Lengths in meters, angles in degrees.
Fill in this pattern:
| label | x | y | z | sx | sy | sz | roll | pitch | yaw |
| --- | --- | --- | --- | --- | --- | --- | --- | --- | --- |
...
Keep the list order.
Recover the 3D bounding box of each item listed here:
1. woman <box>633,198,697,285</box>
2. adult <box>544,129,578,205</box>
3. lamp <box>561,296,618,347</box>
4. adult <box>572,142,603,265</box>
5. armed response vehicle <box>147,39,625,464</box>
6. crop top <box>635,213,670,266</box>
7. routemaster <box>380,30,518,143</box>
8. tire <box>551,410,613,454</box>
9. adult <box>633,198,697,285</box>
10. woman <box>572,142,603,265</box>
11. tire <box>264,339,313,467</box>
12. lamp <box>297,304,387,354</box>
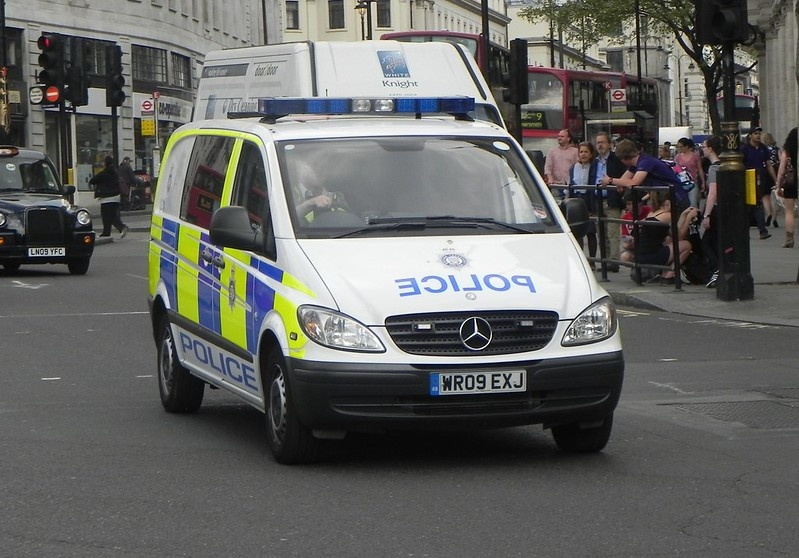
| label | x | y | z | sx | sy | sz | roll | pitch | yaw |
| --- | --- | --- | --- | --- | --- | --- | --- | --- | --- |
| woman | 4.392 | -0.723 | 15.985 | 0.995 | 1.538 | 0.854 | 0 | 11 | 8 |
| adult | 3.463 | -2.119 | 20.851 | 0.778 | 2.095 | 0.561 | -2 | 6 | -7 |
| lamp | 1.236 | 0.282 | 6.468 | 0.257 | 0.156 | 0.380 | 10 | -1 | -33 |
| adult | 3.471 | -1.410 | 18.401 | 0.821 | 2.338 | 0.836 | -1 | 2 | 3 |
| armed response vehicle | -0.442 | -0.611 | 8.852 | 3.183 | 3.250 | 5.883 | 0 | 0 | -22 |
| crop top | 4.233 | -0.620 | 15.968 | 0.665 | 0.938 | 0.689 | -5 | 8 | -42 |
| routemaster | 1.808 | -6.762 | 31.606 | 2.689 | 3.711 | 7.610 | 0 | 5 | 7 |
| tire | 1.262 | 1.054 | 6.785 | 0.394 | 0.390 | 0.461 | 1 | 8 | 8 |
| adult | 4.397 | -0.723 | 15.955 | 0.998 | 1.553 | 0.909 | -12 | 15 | -37 |
| woman | 3.466 | -1.388 | 18.378 | 0.813 | 2.318 | 0.828 | -1 | 0 | 3 |
| tire | -0.712 | 0.793 | 6.376 | 0.300 | 0.912 | 0.809 | -3 | -1 | -14 |
| lamp | -0.397 | 0.321 | 6.121 | 0.401 | 0.153 | 0.294 | 12 | 13 | -41 |
